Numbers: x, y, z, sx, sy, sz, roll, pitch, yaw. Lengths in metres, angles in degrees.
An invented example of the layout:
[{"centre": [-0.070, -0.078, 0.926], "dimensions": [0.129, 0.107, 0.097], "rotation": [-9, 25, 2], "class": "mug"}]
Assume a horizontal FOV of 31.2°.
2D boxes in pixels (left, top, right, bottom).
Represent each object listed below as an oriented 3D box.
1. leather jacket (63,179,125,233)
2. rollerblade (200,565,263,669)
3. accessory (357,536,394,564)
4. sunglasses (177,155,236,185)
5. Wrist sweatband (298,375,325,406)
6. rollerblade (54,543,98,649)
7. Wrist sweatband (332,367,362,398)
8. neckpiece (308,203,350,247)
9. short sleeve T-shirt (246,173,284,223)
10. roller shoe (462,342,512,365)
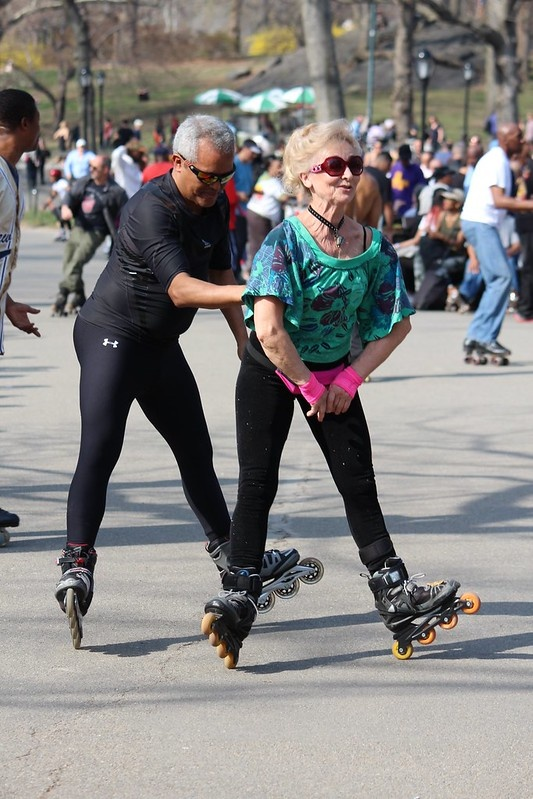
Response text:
[{"centre": [-1.970, -2.340, 11.294], "dimensions": [0.832, 0.587, 0.415], "rotation": [18, 23, 13], "class": "leather jacket"}, {"centre": [-0.104, 0.700, 3.023], "dimensions": [0.180, 0.196, 0.395], "rotation": [18, 17, 15], "class": "rollerblade"}, {"centre": [0.350, 0.480, 3.023], "dimensions": [0.103, 0.064, 0.085], "rotation": [-26, -2, 8], "class": "accessory"}, {"centre": [-0.199, -0.743, 3.075], "dimensions": [0.144, 0.043, 0.114], "rotation": [41, 25, 27], "class": "sunglasses"}, {"centre": [0.135, -0.028, 2.857], "dimensions": [0.081, 0.060, 0.091], "rotation": [-2, 1, -1], "class": "Wrist sweatband"}, {"centre": [-0.627, 0.651, 3.143], "dimensions": [0.126, 0.341, 0.304], "rotation": [0, 9, -10], "class": "rollerblade"}, {"centre": [0.255, -0.055, 2.936], "dimensions": [0.087, 0.096, 0.040], "rotation": [-39, 3, -6], "class": "Wrist sweatband"}, {"centre": [0.182, -0.530, 2.905], "dimensions": [0.113, 0.124, 0.066], "rotation": [1, 9, 2], "class": "neckpiece"}, {"centre": [-0.023, -2.929, 13.433], "dimensions": [0.576, 0.507, 0.331], "rotation": [31, 31, 32], "class": "short sleeve T-shirt"}, {"centre": [2.084, -0.453, 9.067], "dimensions": [0.384, 0.163, 0.227], "rotation": [2, 6, 8], "class": "roller shoe"}]
